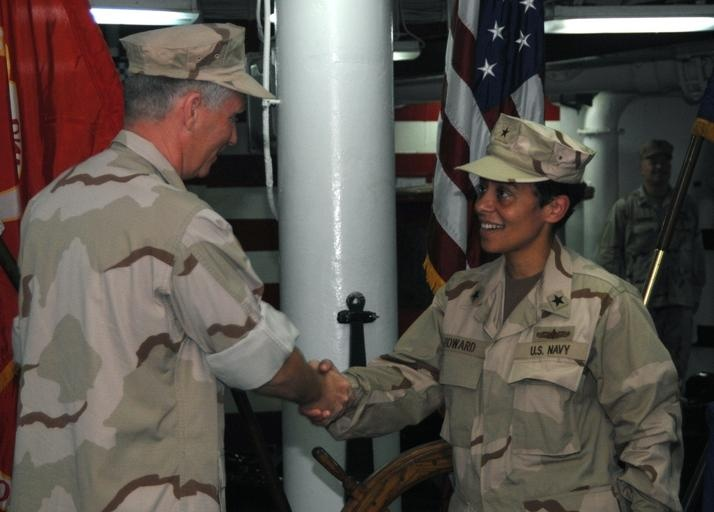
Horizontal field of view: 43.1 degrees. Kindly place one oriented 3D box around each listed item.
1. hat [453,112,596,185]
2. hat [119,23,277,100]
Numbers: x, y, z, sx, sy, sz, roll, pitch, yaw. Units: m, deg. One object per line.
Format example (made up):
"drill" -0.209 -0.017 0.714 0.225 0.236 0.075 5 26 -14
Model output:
"hat" 0.658 -0.429 3.522 0.375 0.194 0.476 11 3 6
"hat" -0.547 -0.680 3.078 0.536 0.212 0.381 5 14 -13
